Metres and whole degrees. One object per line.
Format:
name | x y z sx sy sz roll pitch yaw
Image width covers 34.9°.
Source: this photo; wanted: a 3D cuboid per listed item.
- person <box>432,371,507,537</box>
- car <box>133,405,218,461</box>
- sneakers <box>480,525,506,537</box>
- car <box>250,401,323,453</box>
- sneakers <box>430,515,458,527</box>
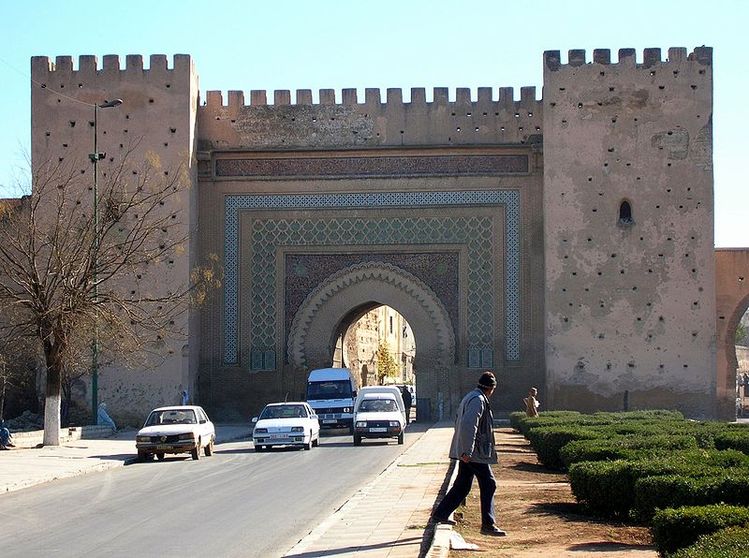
person | 1.589 3.027 19.611 1.026 2.381 0.474 -1 -6 5
car | -4.901 3.772 29.353 1.852 1.351 1.599 1 -8 -13
sneakers | 1.920 4.094 19.462 0.420 0.198 0.166 -1 2 13
car | -2.357 3.872 31.423 1.627 1.318 1.773 0 -8 -6
sneakers | 1.140 3.967 19.484 0.460 0.233 0.164 -1 5 -10
